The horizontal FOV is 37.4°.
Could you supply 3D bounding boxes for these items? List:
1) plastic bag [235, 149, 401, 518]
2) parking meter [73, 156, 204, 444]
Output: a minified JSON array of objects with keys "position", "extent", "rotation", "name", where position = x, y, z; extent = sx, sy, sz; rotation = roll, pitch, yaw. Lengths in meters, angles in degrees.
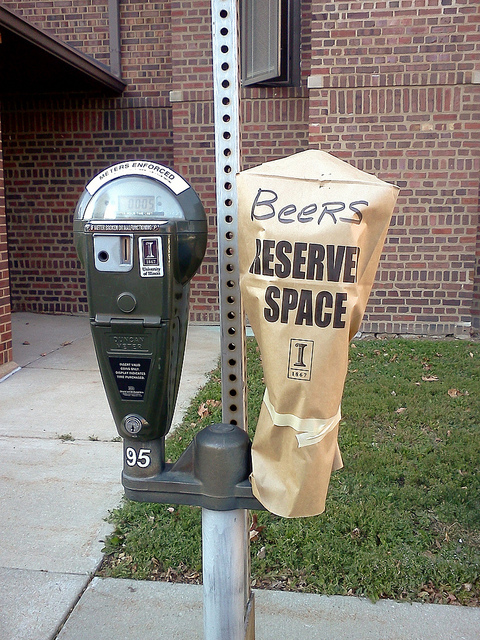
[{"position":[0.152,0.050,1.673],"extent":[0.364,0.821,0.243],"rotation":[0,6,-13],"name":"plastic bag"},{"position":[-0.265,-0.036,1.908],"extent":[0.336,0.765,0.203],"rotation":[-2,13,-13],"name":"parking meter"}]
